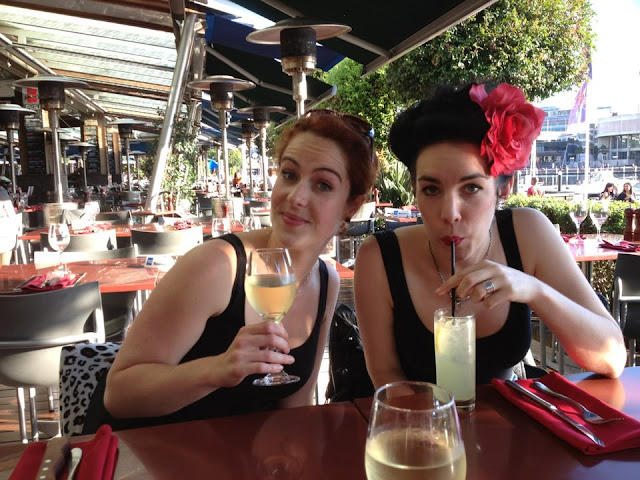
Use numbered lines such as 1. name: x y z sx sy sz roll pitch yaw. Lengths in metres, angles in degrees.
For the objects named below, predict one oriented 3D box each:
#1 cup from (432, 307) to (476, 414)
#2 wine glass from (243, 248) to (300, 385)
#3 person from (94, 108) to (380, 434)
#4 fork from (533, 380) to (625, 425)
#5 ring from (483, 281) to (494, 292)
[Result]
1. cup: 0.427 0.372 1.651 0.163 0.323 0.173 -1 4 0
2. wine glass: -0.149 0.252 1.825 0.179 0.519 0.216 5 11 17
3. person: -0.264 0.156 1.917 0.807 1.467 0.595 -1 1 -23
4. fork: 0.779 0.499 1.535 0.057 0.051 0.326 -5 10 -15
5. ring: 0.590 0.163 1.746 0.037 0.035 0.036 2 -15 0
